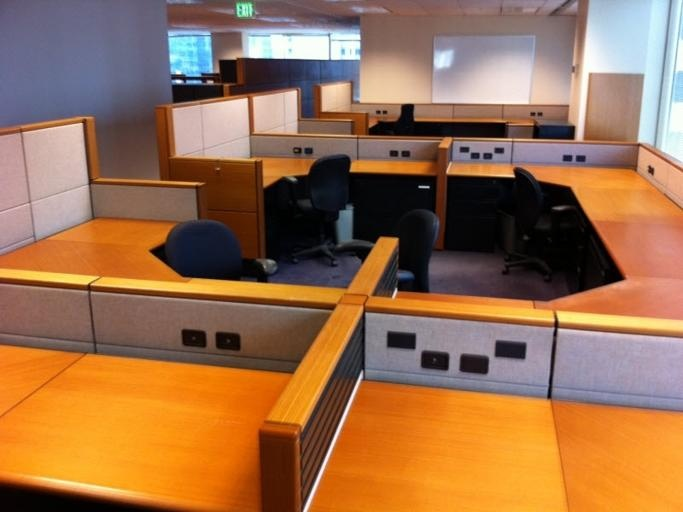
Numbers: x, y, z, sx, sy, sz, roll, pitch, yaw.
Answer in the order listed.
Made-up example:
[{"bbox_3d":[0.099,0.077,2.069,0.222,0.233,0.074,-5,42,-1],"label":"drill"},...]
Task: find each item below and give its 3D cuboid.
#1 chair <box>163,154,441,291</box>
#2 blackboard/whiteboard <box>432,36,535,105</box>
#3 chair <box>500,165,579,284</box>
[{"bbox_3d":[-0.061,-0.292,4.558,1.566,0.950,1.545,-9,15,-38],"label":"chair"},{"bbox_3d":[2.910,-3.778,11.035,1.720,1.042,0.032,3,20,8],"label":"blackboard/whiteboard"},{"bbox_3d":[1.723,-0.243,4.814,0.667,1.007,0.800,0,19,5],"label":"chair"}]
